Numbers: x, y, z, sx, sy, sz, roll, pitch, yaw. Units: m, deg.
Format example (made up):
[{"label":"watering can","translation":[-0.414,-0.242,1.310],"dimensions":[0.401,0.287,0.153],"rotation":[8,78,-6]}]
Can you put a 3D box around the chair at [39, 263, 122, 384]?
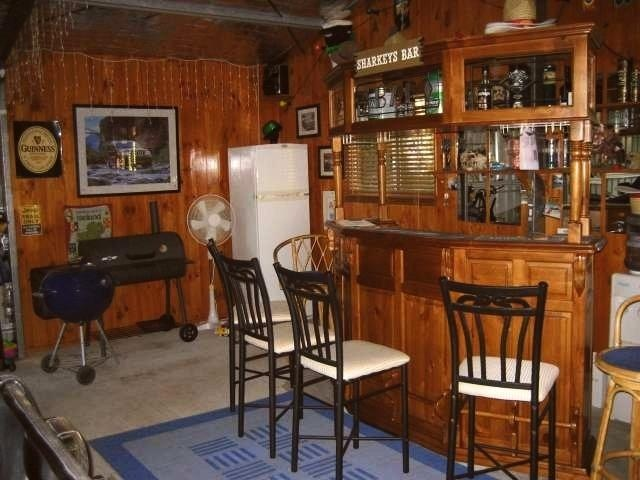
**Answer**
[{"label":"chair","translation":[-2.502,0.768,5.442],"dimensions":[0.710,1.152,1.098],"rotation":[-8,11,-29]}]

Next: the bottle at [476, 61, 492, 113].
[{"label":"bottle","translation":[1.087,-1.016,3.565],"dimensions":[0.084,0.274,0.032],"rotation":[0,10,18]}]

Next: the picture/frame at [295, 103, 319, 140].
[{"label":"picture/frame","translation":[-0.168,-1.553,6.970],"dimensions":[0.041,0.416,0.501],"rotation":[-8,12,-32]}]

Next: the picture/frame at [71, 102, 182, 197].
[{"label":"picture/frame","translation":[-2.463,-1.138,6.631],"dimensions":[1.222,1.045,0.044],"rotation":[-4,5,-31]}]
